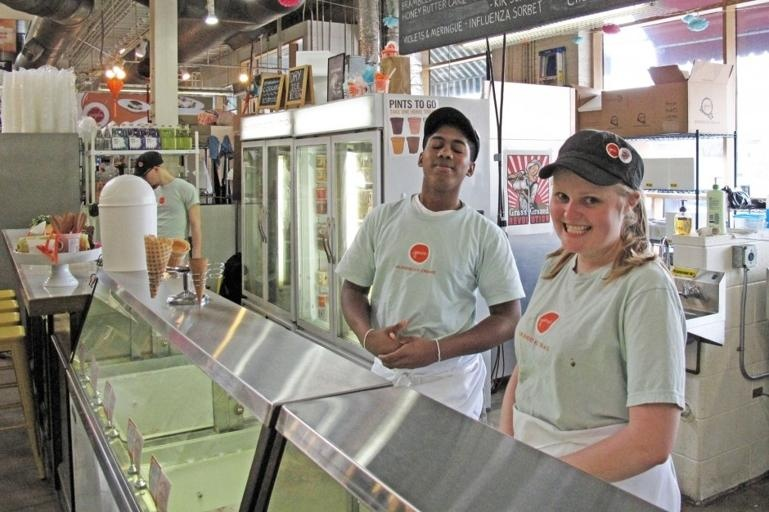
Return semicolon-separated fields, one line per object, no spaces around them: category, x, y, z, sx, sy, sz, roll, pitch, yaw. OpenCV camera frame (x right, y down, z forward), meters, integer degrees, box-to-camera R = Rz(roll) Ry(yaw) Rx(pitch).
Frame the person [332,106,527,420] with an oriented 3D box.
person;0.207;-0.126;2.885;0.742;1.173;0.623;-5;9;-22

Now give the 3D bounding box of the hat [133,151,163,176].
hat;-2.195;-0.875;5.637;0.219;0.229;0.338;-4;9;-19

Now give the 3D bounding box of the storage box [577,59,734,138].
storage box;2.818;-1.611;6.250;1.394;0.704;0.701;4;10;28

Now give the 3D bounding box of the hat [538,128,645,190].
hat;0.740;-0.329;2.149;0.291;0.147;0.211;21;2;-31

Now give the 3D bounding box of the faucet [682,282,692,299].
faucet;2.014;0.213;4.024;0.027;0.083;0.086;2;-21;20

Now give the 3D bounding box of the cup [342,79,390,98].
cup;-0.134;-1.353;4.892;0.226;0.105;0.297;-3;6;-29

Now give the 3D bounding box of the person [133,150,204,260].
person;-2.056;-0.503;5.804;0.541;1.045;0.520;-5;9;-19

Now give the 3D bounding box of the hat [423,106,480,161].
hat;0.347;-0.595;3.000;0.221;0.285;0.107;0;7;11

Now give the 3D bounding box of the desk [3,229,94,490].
desk;-1.997;0.630;3.609;0.532;0.952;1.617;-1;11;-25

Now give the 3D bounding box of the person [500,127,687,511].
person;0.727;0.114;2.103;0.507;1.113;0.595;-3;9;-7

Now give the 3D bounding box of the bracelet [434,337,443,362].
bracelet;0.235;0.422;2.699;0.034;0.114;0.060;-3;9;-8

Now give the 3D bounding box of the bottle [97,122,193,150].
bottle;-2.652;-1.327;6.690;0.979;0.276;0.275;-6;10;-24
